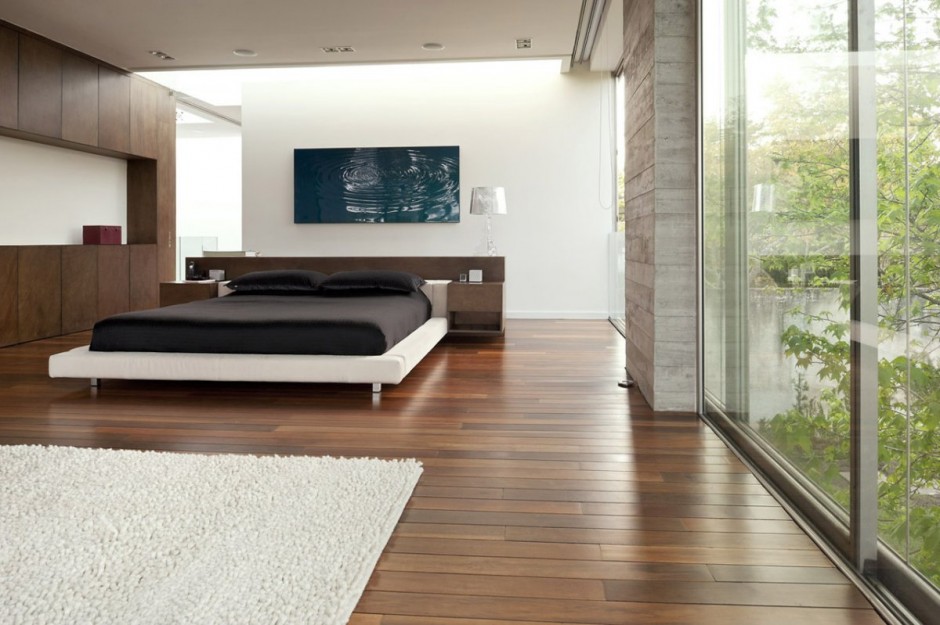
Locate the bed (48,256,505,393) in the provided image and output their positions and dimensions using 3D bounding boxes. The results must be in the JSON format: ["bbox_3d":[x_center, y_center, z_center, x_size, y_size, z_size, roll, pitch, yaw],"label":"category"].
[{"bbox_3d":[-1.495,-0.016,5.971,3.114,0.755,3.248,2,9,14],"label":"bed"}]

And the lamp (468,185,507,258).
[{"bbox_3d":[0.225,-1.016,7.690,0.366,0.786,0.944,0,9,3],"label":"lamp"}]

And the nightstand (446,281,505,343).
[{"bbox_3d":[0.077,-0.043,6.800,0.854,0.720,0.521,0,-2,4],"label":"nightstand"}]
